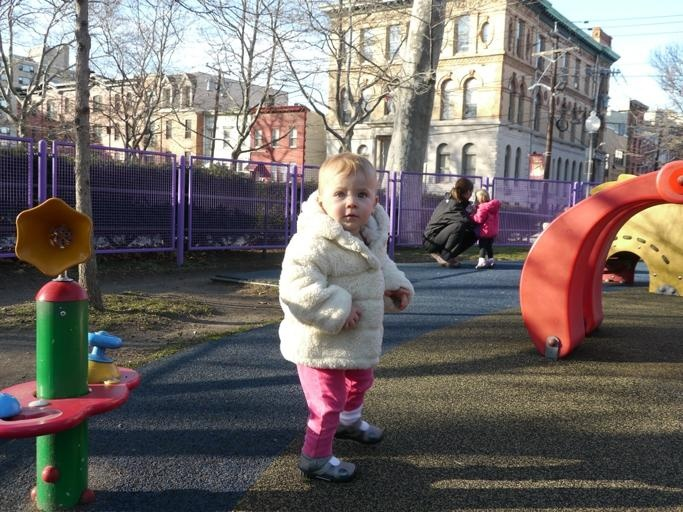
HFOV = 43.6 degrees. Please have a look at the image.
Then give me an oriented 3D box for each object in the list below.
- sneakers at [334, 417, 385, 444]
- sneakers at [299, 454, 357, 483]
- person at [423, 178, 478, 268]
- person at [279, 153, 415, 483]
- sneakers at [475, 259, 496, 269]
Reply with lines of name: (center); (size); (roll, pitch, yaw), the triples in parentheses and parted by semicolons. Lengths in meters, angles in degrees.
sneakers: (0.123, 1.303, 6.355); (0.364, 0.127, 0.161); (0, 12, -2)
sneakers: (-0.100, 1.467, 5.915); (0.348, 0.130, 0.183); (0, 7, -2)
person: (1.817, -0.555, 14.182); (0.852, 1.535, 0.672); (11, 18, 39)
person: (-0.024, 0.399, 6.040); (0.632, 2.212, 0.911); (10, 17, 36)
sneakers: (2.405, 0.124, 14.331); (0.138, 0.148, 0.401); (-1, -1, 39)
